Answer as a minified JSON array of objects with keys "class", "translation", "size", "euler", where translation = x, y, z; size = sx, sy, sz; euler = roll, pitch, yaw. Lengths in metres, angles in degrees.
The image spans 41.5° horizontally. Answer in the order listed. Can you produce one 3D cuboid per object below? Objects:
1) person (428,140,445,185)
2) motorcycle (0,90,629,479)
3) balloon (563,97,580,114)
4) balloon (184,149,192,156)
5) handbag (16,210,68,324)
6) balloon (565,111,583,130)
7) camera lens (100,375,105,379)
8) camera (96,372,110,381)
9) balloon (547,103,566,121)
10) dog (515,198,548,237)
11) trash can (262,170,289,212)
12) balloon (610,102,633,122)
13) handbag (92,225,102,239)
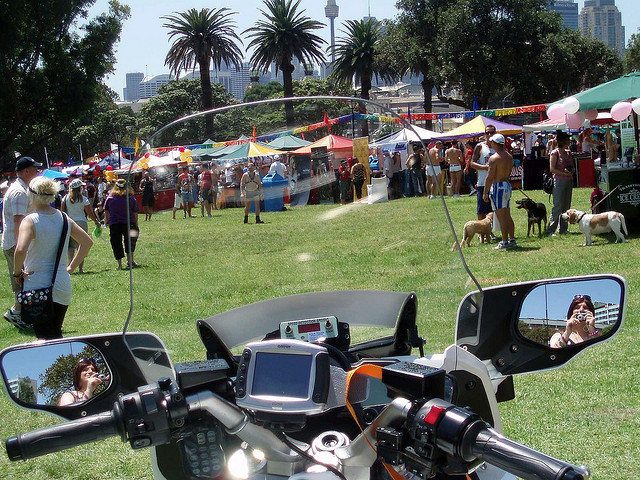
[{"class":"person","translation":[2.172,-1.338,15.905],"size":[0.383,0.987,0.305],"euler":[1,4,41]},{"class":"motorcycle","translation":[-0.066,0.290,3.808],"size":[2.468,1.750,1.584],"euler":[1,15,14]},{"class":"balloon","translation":[4.388,-2.330,14.723],"size":[0.221,0.302,0.243],"euler":[-3,8,9]},{"class":"balloon","translation":[-0.633,-0.423,4.085],"size":[0.032,0.027,0.031],"euler":[-6,15,-10]},{"class":"handbag","translation":[-2.320,0.253,7.110],"size":[0.359,0.802,0.523],"euler":[-1,14,7]},{"class":"balloon","translation":[4.810,-2.243,15.946],"size":[0.281,0.447,1.122],"euler":[2,16,18]},{"class":"camera lens","translation":[-1.000,0.635,3.907],"size":[0.020,0.016,0.008],"euler":[-4,14,-2]},{"class":"camera","translation":[-0.997,0.635,3.907],"size":[0.059,0.035,0.014],"euler":[-4,14,-4]},{"class":"balloon","translation":[4.375,-2.359,15.597],"size":[0.285,0.362,0.422],"euler":[-7,-3,12]},{"class":"dog","translation":[3.434,-0.353,13.402],"size":[0.252,0.595,0.936],"euler":[-4,-1,35]},{"class":"trash can","translation":[-0.202,-0.227,3.894],"size":[0.110,0.174,0.124],"euler":[-5,14,-10]},{"class":"balloon","translation":[5.286,-2.235,14.765],"size":[0.340,0.354,0.604],"euler":[2,16,19]},{"class":"handbag","translation":[-1.211,-0.041,4.628],"size":[0.024,0.067,0.048],"euler":[7,21,-43]}]
